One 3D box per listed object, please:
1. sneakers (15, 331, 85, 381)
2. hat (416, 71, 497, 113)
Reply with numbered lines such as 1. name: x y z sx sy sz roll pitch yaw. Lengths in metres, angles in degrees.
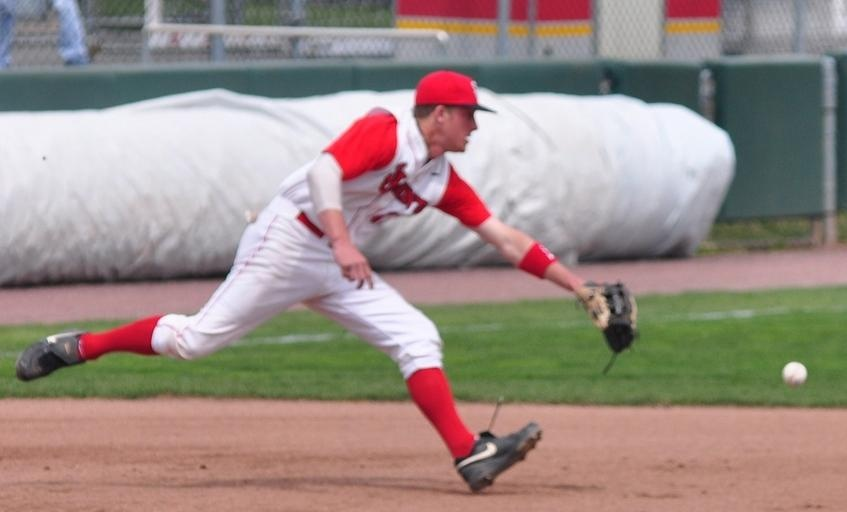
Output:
1. sneakers: -2.725 0.748 13.379 0.654 0.219 0.250 -15 -16 16
2. hat: 0.220 -1.156 12.713 0.457 0.202 0.275 2 5 -2
